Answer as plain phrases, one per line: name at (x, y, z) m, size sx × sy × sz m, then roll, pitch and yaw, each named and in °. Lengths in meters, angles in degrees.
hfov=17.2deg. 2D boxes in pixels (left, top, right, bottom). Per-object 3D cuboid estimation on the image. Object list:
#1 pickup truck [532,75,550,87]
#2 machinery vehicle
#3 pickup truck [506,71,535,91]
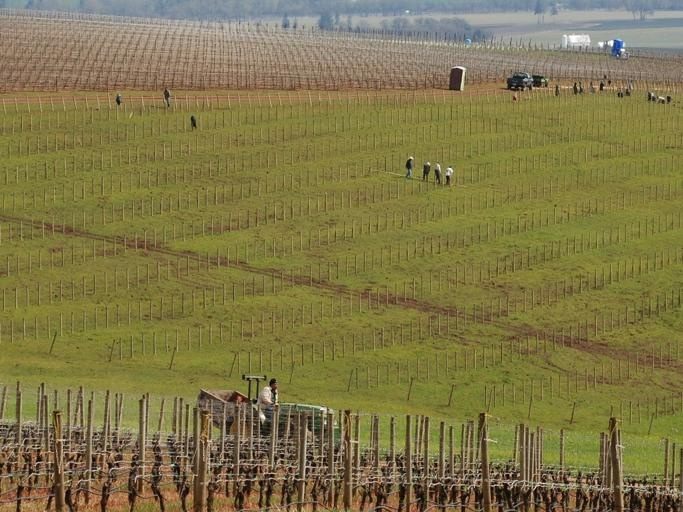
pickup truck at (18.513, -16.760, 210.049) m, size 0.908 × 0.787 × 1.551 m, roll 3°, pitch 16°, yaw 10°
machinery vehicle at (-4.792, 8.962, 134.739) m, size 8.665 × 4.065 × 6.127 m, roll 3°, pitch 10°, yaw 20°
pickup truck at (16.611, -16.585, 207.867) m, size 1.349 × 1.200 × 2.589 m, roll 7°, pitch 15°, yaw 22°
